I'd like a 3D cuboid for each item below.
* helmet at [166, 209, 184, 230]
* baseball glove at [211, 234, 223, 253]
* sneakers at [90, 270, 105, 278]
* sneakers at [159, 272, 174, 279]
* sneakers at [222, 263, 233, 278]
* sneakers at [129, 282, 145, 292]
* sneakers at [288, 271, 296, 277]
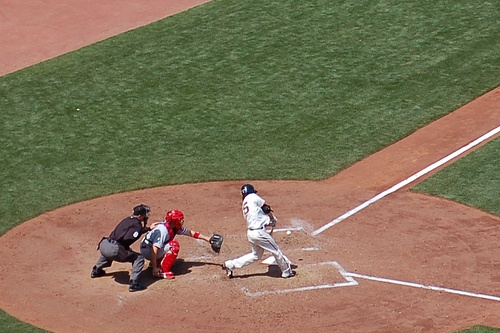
[{"bbox_3d":[-2.109,1.516,22.344,0.490,0.502,0.596,22,14,17],"label":"helmet"},{"bbox_3d":[-0.928,2.260,22.433,0.510,0.374,0.455,5,84,0],"label":"baseball glove"},{"bbox_3d":[-4.408,3.114,22.300,0.397,0.237,0.153,-8,61,-21],"label":"sneakers"},{"bbox_3d":[-2.399,3.147,22.185,0.419,0.143,0.163,-1,5,13],"label":"sneakers"},{"bbox_3d":[-0.658,3.005,22.229,0.269,0.188,0.484,-7,92,-6],"label":"sneakers"},{"bbox_3d":[-3.212,3.425,21.800,0.191,0.257,0.423,21,28,40],"label":"sneakers"},{"bbox_3d":[1.209,3.127,22.282,0.209,0.142,0.047,-34,76,-9],"label":"sneakers"}]
